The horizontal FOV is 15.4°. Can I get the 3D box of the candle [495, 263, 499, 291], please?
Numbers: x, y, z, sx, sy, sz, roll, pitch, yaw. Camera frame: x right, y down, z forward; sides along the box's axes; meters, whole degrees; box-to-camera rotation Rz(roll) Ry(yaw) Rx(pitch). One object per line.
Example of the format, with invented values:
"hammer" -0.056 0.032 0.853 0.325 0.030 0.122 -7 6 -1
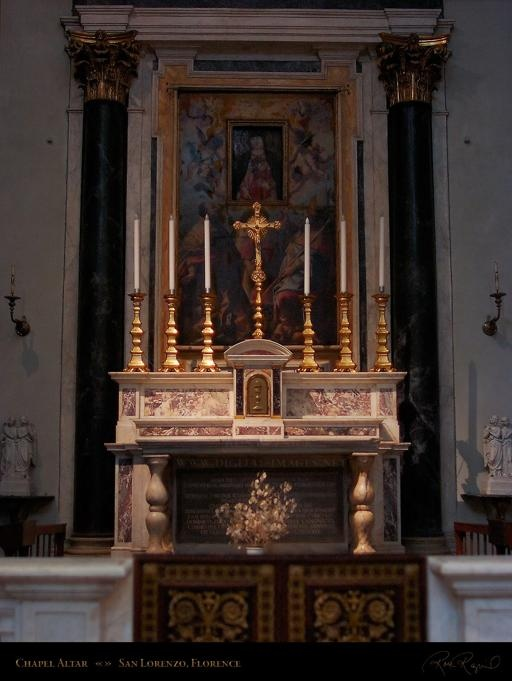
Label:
"candle" 1.767 -0.470 14.015 0.038 0.211 0.097 0 -6 4
